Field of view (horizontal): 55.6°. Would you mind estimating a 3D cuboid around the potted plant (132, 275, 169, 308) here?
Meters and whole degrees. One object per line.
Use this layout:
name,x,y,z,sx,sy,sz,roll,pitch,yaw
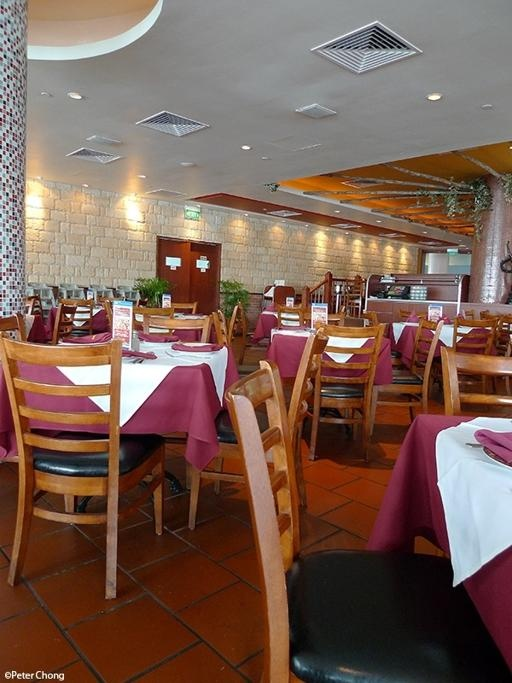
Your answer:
potted plant,-2.201,-1.099,10.290,0.929,0.793,0.870,0,0,-4
